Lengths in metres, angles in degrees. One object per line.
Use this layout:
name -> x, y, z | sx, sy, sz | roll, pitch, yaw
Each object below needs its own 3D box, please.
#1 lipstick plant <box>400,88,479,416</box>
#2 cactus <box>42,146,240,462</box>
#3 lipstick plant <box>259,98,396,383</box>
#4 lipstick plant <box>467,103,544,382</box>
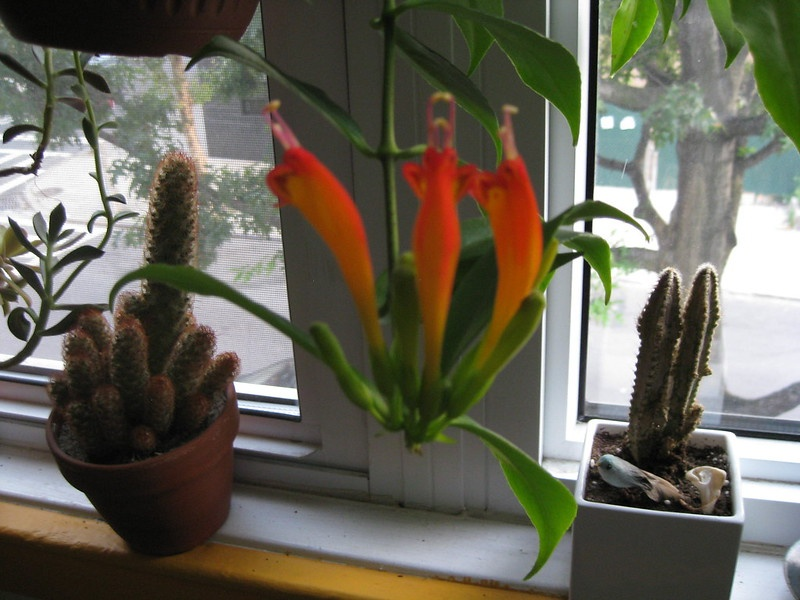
lipstick plant -> 0.031, -0.051, 0.670 | 0.066, 0.271, 0.186 | 5, 11, 0
cactus -> -0.337, 0.008, 0.932 | 0.232, 0.405, 0.151 | -1, 12, -28
lipstick plant -> -0.078, -0.078, 0.801 | 0.147, 0.471, 0.095 | -11, 41, -10
lipstick plant -> 0.089, -0.048, 0.595 | 0.064, 0.213, 0.131 | 6, 11, 5
